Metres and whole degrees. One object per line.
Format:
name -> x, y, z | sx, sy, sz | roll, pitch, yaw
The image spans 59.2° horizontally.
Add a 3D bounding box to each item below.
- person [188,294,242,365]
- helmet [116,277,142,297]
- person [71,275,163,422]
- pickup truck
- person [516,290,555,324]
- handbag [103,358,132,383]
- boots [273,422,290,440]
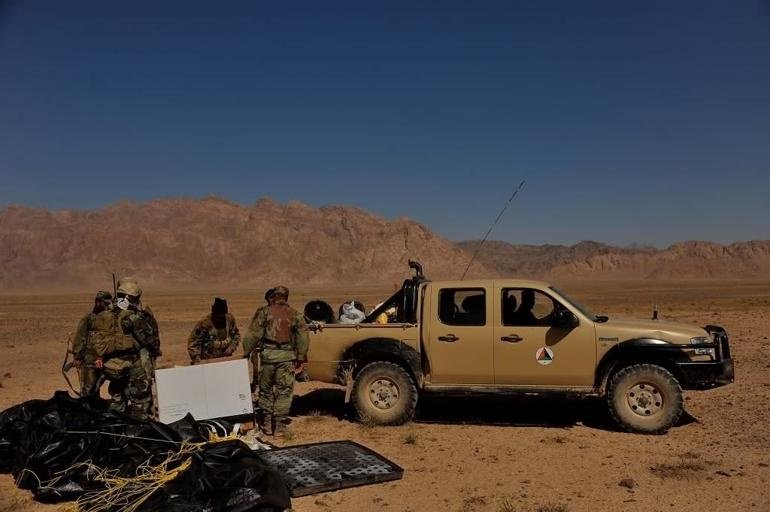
person -> -3.446, 1.475, 13.873 | 1.000, 1.181, 0.365 | 1, 0, -29
helmet -> -4.730, 0.585, 12.602 | 0.360, 0.260, 0.507 | 0, -3, -21
person -> -4.851, 1.717, 12.355 | 1.435, 2.564, 1.109 | 1, 0, 1
pickup truck -> 2.492, 1.867, 14.068 | 7.972, 2.841, 3.292 | -1, -1, 7
person -> 2.886, 0.990, 13.097 | 0.737, 0.630, 0.179 | 16, 9, 27
handbag -> -4.726, 1.968, 12.130 | 0.510, 0.429, 0.384 | 9, 7, 41
boots -> -1.899, 3.253, 12.671 | 0.305, 0.275, 0.327 | 1, 0, -9
